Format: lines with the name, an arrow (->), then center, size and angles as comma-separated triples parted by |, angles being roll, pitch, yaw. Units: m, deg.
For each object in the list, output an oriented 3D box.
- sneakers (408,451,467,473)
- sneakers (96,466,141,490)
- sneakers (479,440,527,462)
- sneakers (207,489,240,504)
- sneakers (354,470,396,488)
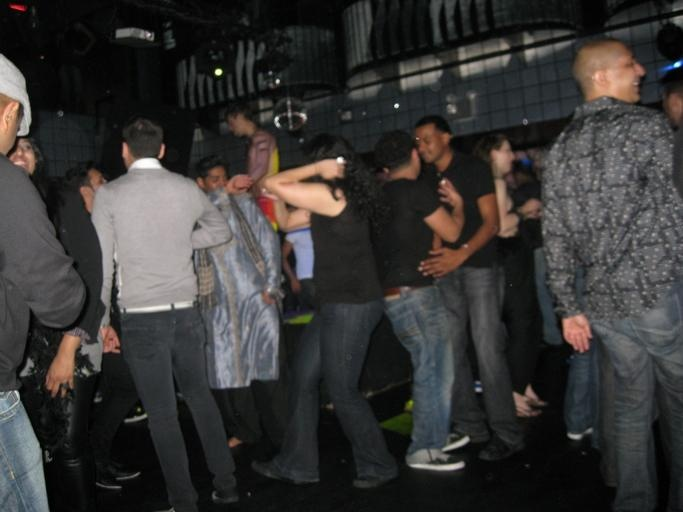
sneakers -> 0.579, 1.243, 4.050 | 0.372, 0.135, 0.134 | -4, 7, 12
sneakers -> -1.396, 1.374, 4.078 | 0.285, 0.114, 0.087 | -2, 16, -18
sneakers -> 1.015, 1.220, 4.143 | 0.286, 0.105, 0.105 | 1, -4, -25
sneakers -> -0.667, 1.363, 3.728 | 0.156, 0.064, 0.073 | -4, 6, 34
sneakers -> 0.193, 1.294, 3.846 | 0.217, 0.080, 0.097 | 5, -11, -24
